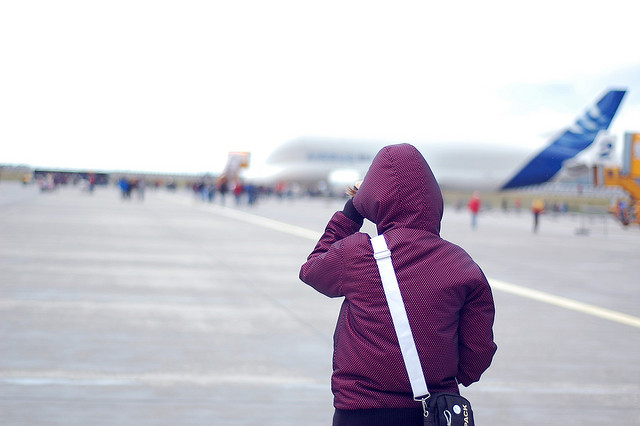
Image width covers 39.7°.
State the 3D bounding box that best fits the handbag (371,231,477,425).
[{"bbox_3d":[1.164,1.323,10.257,1.298,2.166,0.363,3,6,5],"label":"handbag"}]

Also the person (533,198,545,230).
[{"bbox_3d":[7.942,0.028,32.661,0.392,1.221,1.220,5,6,13],"label":"person"}]

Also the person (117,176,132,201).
[{"bbox_3d":[-8.665,-1.125,39.777,0.664,1.030,0.285,8,37,1],"label":"person"}]
